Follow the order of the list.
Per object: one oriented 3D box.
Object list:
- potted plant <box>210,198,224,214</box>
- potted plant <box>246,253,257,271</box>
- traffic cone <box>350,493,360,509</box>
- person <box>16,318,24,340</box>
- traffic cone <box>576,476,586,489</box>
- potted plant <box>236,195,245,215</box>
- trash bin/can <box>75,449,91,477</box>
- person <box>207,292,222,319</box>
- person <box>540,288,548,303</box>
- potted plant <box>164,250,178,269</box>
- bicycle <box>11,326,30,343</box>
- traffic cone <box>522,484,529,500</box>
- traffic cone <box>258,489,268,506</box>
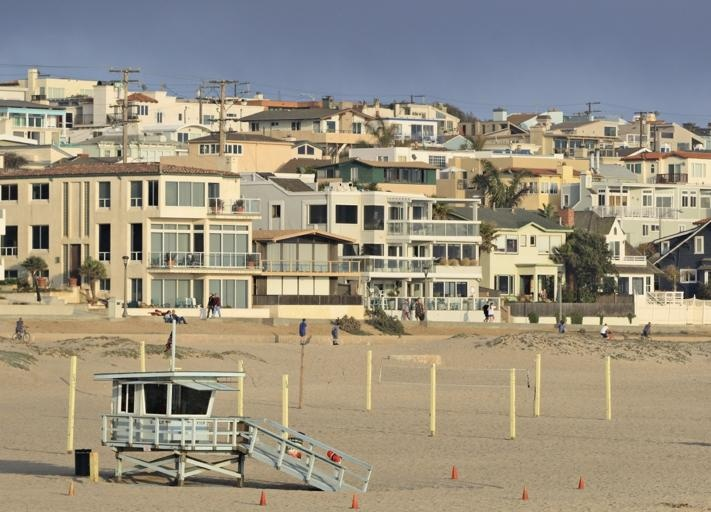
[{"bbox_3d":[-9.637,-3.219,136.542,1.017,0.996,1.035,3,-11,-6],"label":"potted plant"},{"bbox_3d":[-7.216,0.630,137.587,0.990,0.930,0.993,0,2,12],"label":"potted plant"},{"bbox_3d":[0.098,11.822,93.834,0.516,0.682,0.512,-3,-11,13],"label":"traffic cone"},{"bbox_3d":[-20.204,4.501,118.744,0.573,1.217,2.666,1,0,-10],"label":"person"},{"bbox_3d":[11.013,11.200,96.288,0.483,0.645,0.434,-4,-3,22],"label":"traffic cone"},{"bbox_3d":[-8.076,-3.202,137.510,0.477,1.047,0.926,1,0,33],"label":"potted plant"},{"bbox_3d":[-13.270,10.139,95.782,0.787,1.345,1.123,1,0,-8],"label":"trash bin/can"},{"bbox_3d":[-9.616,3.586,133.959,0.902,1.600,1.570,1,0,-3],"label":"person"},{"bbox_3d":[14.708,3.347,155.487,0.340,0.921,0.671,-14,-19,42],"label":"person"},{"bbox_3d":[-12.707,0.521,135.291,1.020,0.991,0.988,1,-3,-35],"label":"potted plant"},{"bbox_3d":[-19.971,4.979,117.768,1.288,0.773,0.633,0,0,17],"label":"bicycle"},{"bbox_3d":[8.150,11.544,95.112,0.338,0.589,1.231,1,0,6],"label":"traffic cone"},{"bbox_3d":[-4.399,11.674,94.039,0.516,0.666,0.515,-3,-3,39],"label":"traffic cone"}]
